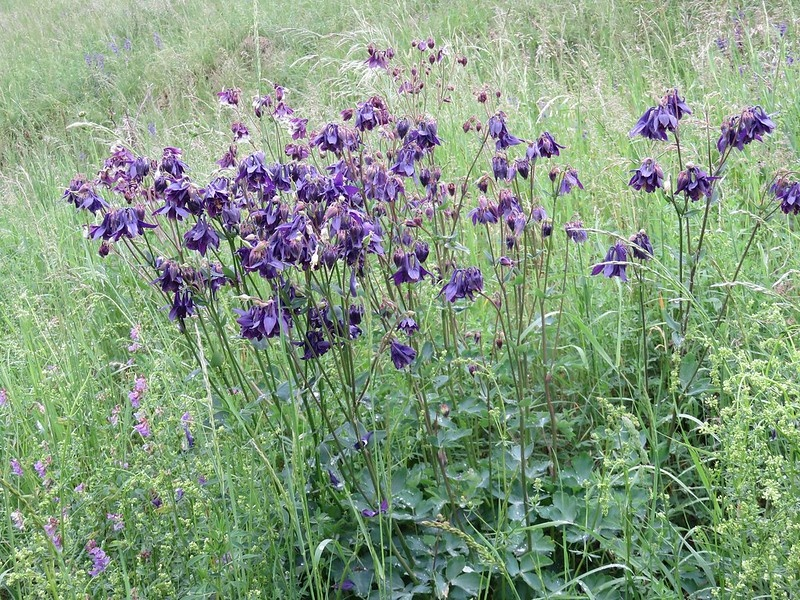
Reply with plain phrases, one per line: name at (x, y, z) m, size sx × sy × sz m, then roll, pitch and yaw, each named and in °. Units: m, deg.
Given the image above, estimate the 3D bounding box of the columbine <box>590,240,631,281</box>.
columbine at (1.130, -0.203, 4.246) m, size 0.191 × 0.248 × 0.195 m, roll 6°, pitch 7°, yaw -16°

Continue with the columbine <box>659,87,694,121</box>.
columbine at (1.420, -0.996, 4.147) m, size 0.127 × 0.203 × 0.209 m, roll -7°, pitch 29°, yaw 21°

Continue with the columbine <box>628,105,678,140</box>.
columbine at (1.307, -0.899, 4.130) m, size 0.183 × 0.155 × 0.207 m, roll -8°, pitch 9°, yaw 21°
